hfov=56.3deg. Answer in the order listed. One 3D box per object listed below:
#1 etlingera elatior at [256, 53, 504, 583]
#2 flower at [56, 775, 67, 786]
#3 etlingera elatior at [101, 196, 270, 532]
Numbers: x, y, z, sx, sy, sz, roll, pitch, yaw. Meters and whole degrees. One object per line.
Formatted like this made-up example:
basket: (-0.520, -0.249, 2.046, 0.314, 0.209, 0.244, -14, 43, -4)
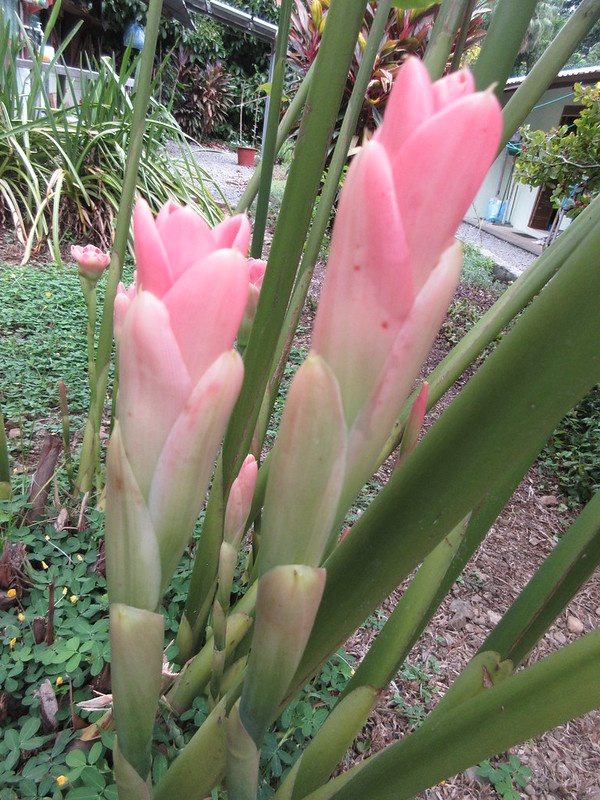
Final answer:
etlingera elatior: (0.024, -0.009, 0.250, 0.054, 0.240, 0.033, 20, 20, 10)
flower: (-0.334, 0.538, 0.792, 0.008, 0.018, 0.015, -1, 3, 20)
etlingera elatior: (-0.071, -0.027, 0.309, 0.059, 0.159, 0.091, 9, 22, -19)
